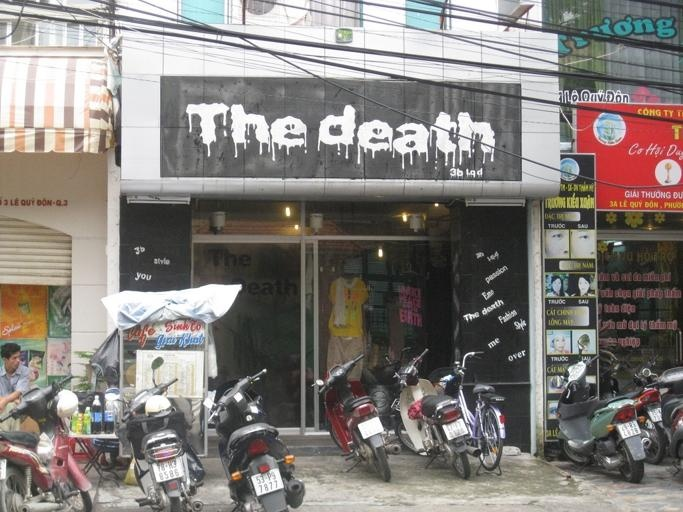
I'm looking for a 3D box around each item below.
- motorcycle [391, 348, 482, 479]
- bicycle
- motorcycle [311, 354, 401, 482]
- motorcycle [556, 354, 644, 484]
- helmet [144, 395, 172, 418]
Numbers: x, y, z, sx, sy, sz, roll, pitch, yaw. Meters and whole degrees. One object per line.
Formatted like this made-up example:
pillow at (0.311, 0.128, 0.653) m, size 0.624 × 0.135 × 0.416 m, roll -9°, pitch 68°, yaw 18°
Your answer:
motorcycle at (1.350, 2.223, 18.044) m, size 0.899 × 1.424 × 2.099 m, roll -22°, pitch 14°, yaw -15°
bicycle at (1.935, 2.274, 18.454) m, size 0.847 × 1.527 × 2.626 m, roll 2°, pitch 0°, yaw -15°
motorcycle at (0.133, 2.302, 17.745) m, size 0.919 × 1.760 × 1.126 m, roll -2°, pitch -2°, yaw -28°
motorcycle at (3.679, 2.347, 17.920) m, size 0.753 × 1.591 × 2.111 m, roll -7°, pitch 2°, yaw -17°
helmet at (-2.388, 1.948, 16.304) m, size 0.223 × 0.268 × 0.288 m, roll 6°, pitch 14°, yaw -3°
